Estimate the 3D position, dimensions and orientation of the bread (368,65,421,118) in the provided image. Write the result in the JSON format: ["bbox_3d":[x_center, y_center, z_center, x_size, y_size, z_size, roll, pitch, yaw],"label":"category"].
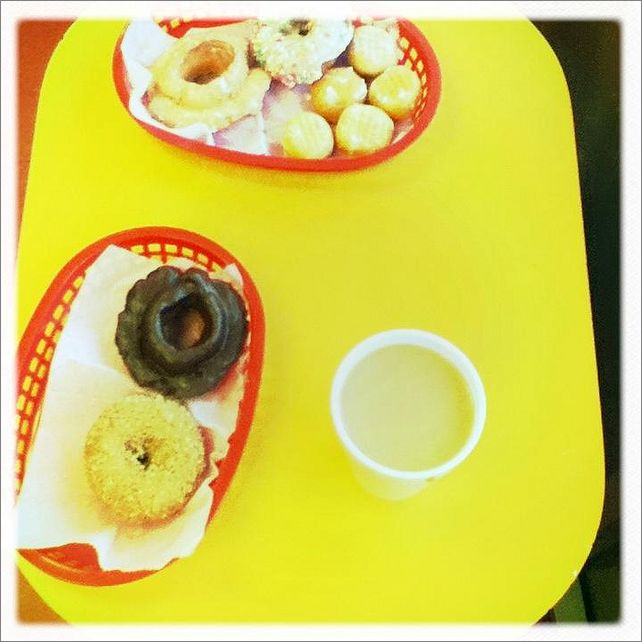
[{"bbox_3d":[0.106,-0.328,1.138,0.067,0.033,0.074,-29,82,10],"label":"bread"}]

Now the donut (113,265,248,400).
[{"bbox_3d":[-0.182,0.012,1.024,0.167,0.069,0.171,17,80,5],"label":"donut"}]

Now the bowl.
[{"bbox_3d":[0.099,0.094,0.907,0.175,0.046,0.173,0,79,2],"label":"bowl"}]

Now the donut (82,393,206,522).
[{"bbox_3d":[-0.221,0.180,1.016,0.147,0.022,0.167,-6,80,1],"label":"donut"}]

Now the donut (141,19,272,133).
[{"bbox_3d":[-0.182,-0.396,1.198,0.125,0.156,0.042,-3,79,13],"label":"donut"}]

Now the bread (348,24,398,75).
[{"bbox_3d":[0.080,-0.403,1.174,0.076,0.028,0.091,-3,90,1],"label":"bread"}]
